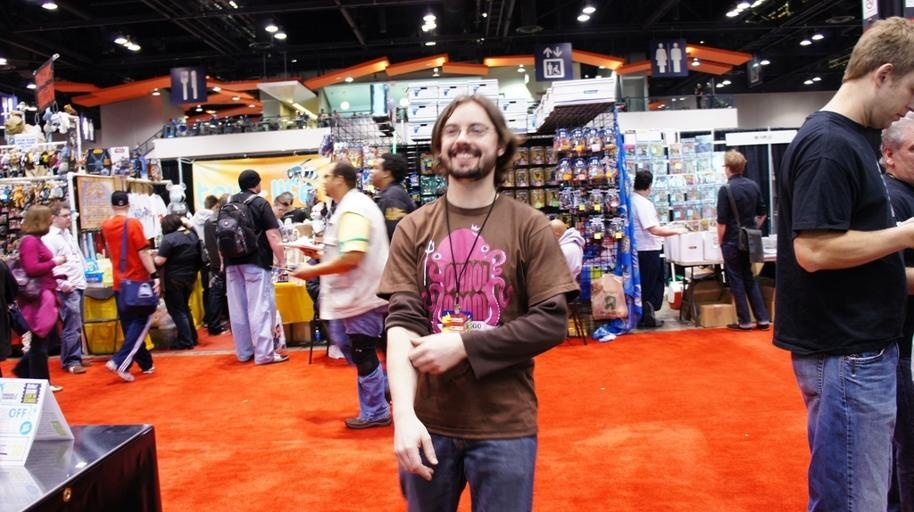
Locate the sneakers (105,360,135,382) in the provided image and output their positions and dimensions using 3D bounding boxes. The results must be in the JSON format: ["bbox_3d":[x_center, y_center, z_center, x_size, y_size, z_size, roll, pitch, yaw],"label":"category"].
[{"bbox_3d":[-4.299,1.434,7.835,0.298,0.294,0.292,-3,3,-28],"label":"sneakers"}]

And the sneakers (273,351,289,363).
[{"bbox_3d":[-2.448,1.392,8.490,0.138,0.145,0.398,5,-10,-43],"label":"sneakers"}]

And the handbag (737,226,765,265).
[{"bbox_3d":[3.995,-0.153,8.364,0.597,0.601,0.255,1,-1,-38],"label":"handbag"}]

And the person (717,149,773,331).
[{"bbox_3d":[4.032,-0.220,8.641,0.584,2.510,0.741,0,4,37],"label":"person"}]

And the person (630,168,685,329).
[{"bbox_3d":[2.893,-0.099,9.018,0.549,2.337,0.593,-1,3,24],"label":"person"}]

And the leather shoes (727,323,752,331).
[{"bbox_3d":[4.038,1.001,8.777,0.111,0.104,0.280,4,-1,-42],"label":"leather shoes"}]

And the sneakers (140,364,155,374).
[{"bbox_3d":[-4.146,1.505,8.189,0.192,0.123,0.087,-11,21,36],"label":"sneakers"}]

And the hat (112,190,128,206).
[{"bbox_3d":[-4.473,-0.761,8.027,0.249,0.168,0.375,4,11,-19],"label":"hat"}]

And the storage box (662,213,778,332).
[{"bbox_3d":[3.634,0.379,9.816,2.450,1.943,1.695,0,-1,-7],"label":"storage box"}]

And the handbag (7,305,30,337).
[{"bbox_3d":[-5.108,0.716,7.133,0.179,0.362,0.365,-4,3,-34],"label":"handbag"}]

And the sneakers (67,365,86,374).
[{"bbox_3d":[-5.206,1.527,8.360,0.252,0.070,0.092,-10,-9,36],"label":"sneakers"}]

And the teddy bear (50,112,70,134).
[{"bbox_3d":[-6.137,-2.086,9.500,0.354,0.335,0.175,-1,3,24],"label":"teddy bear"}]

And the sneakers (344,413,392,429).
[{"bbox_3d":[-0.932,1.698,6.403,0.436,0.174,0.156,3,-6,-9],"label":"sneakers"}]
